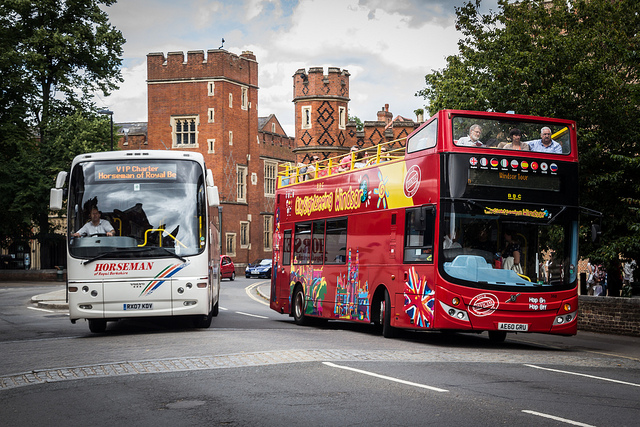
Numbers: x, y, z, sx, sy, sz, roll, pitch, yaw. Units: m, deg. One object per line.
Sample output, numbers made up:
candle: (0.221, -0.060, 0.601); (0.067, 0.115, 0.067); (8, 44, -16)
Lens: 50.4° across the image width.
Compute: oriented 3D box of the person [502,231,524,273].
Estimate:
person: (4.554, 0.925, 16.039); (0.504, 0.940, 0.133); (1, -1, -14)

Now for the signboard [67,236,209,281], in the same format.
signboard: (-4.658, 1.007, 17.670); (3.866, 1.323, 0.062); (2, -4, -38)

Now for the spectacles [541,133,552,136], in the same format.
spectacles: (5.656, -1.958, 16.816); (0.271, 0.047, 0.076); (2, -2, -31)

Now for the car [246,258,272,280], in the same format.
car: (-5.253, 4.859, 59.447); (1.986, 1.583, 3.018); (1, -2, -27)

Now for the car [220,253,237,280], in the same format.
car: (-7.646, 4.187, 54.278); (1.638, 1.498, 2.752); (-3, -11, 4)

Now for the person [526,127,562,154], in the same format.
person: (5.586, -1.652, 16.836); (0.952, 0.831, 0.532); (2, -12, 0)

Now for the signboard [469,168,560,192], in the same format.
signboard: (4.575, -0.804, 16.233); (2.090, 0.409, 0.181); (1, -1, -14)

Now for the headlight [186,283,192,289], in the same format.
headlight: (-3.429, 1.881, 17.717); (0.133, 0.139, 0.036); (-1, -8, -11)

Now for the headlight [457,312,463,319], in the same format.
headlight: (3.287, 2.366, 15.829); (0.144, 0.153, 0.045); (1, -1, 10)

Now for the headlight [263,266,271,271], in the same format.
headlight: (-4.606, 4.764, 58.752); (0.593, 0.377, 0.246); (1, -1, -5)

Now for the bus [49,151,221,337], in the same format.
bus: (-4.746, 0.547, 17.844); (3.568, 4.327, 0.820); (0, -1, 0)
